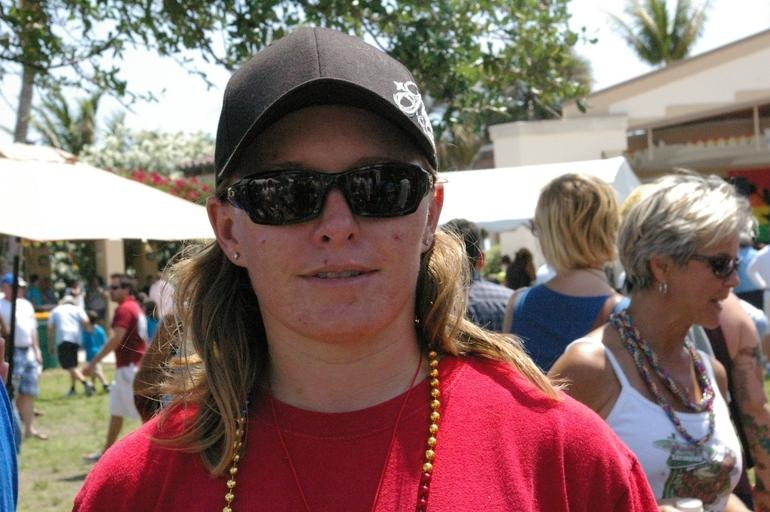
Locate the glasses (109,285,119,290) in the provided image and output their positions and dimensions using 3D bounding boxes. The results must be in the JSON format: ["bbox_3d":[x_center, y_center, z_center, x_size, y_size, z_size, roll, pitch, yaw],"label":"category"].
[{"bbox_3d":[-3.034,0.345,9.731,0.063,0.037,0.091,1,-16,0],"label":"glasses"}]

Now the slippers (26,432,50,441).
[{"bbox_3d":[-4.083,2.145,10.285,0.270,0.120,0.097,1,1,3],"label":"slippers"}]
